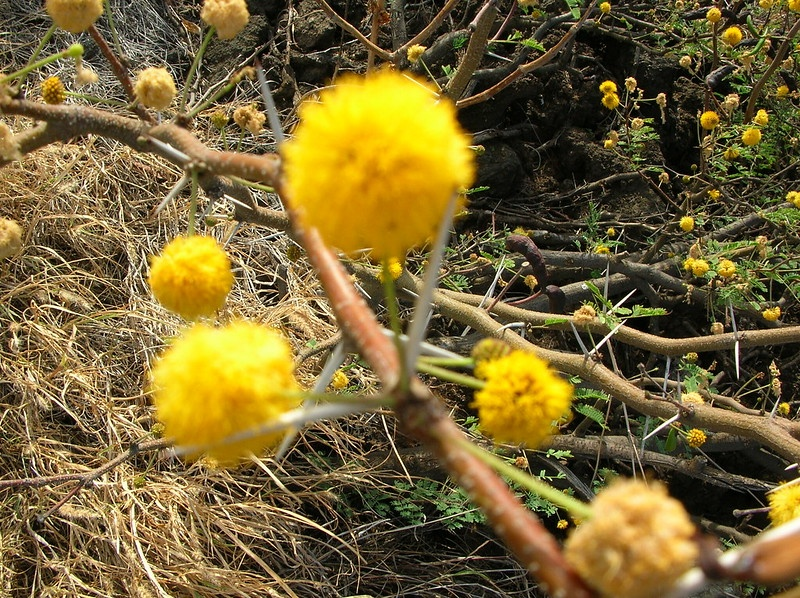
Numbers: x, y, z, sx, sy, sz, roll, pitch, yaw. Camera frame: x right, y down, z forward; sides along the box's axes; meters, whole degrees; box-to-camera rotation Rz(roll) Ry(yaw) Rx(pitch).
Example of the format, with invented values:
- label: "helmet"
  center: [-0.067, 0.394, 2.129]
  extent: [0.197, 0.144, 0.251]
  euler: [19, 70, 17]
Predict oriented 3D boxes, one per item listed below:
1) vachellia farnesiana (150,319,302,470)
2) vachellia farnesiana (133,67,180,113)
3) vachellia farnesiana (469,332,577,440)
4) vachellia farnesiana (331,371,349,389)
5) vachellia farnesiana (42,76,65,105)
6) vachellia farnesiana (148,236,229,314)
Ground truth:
- label: "vachellia farnesiana"
  center: [-0.467, 0.284, 2.176]
  extent: [0.358, 0.427, 0.272]
  euler: [-3, 37, -14]
- label: "vachellia farnesiana"
  center: [-0.844, -0.706, 2.755]
  extent: [0.128, 0.152, 0.131]
  euler: [-4, 36, -15]
- label: "vachellia farnesiana"
  center: [0.357, 0.264, 2.433]
  extent: [0.293, 0.286, 0.351]
  euler: [8, 33, 2]
- label: "vachellia farnesiana"
  center: [-0.258, 0.349, 3.482]
  extent: [0.131, 0.105, 0.071]
  euler: [1, 71, -5]
- label: "vachellia farnesiana"
  center: [-1.232, -0.734, 2.859]
  extent: [0.067, 0.087, 0.258]
  euler: [-7, 33, -19]
- label: "vachellia farnesiana"
  center: [-0.639, -0.066, 2.434]
  extent: [0.233, 0.245, 0.243]
  euler: [-5, 36, -17]
